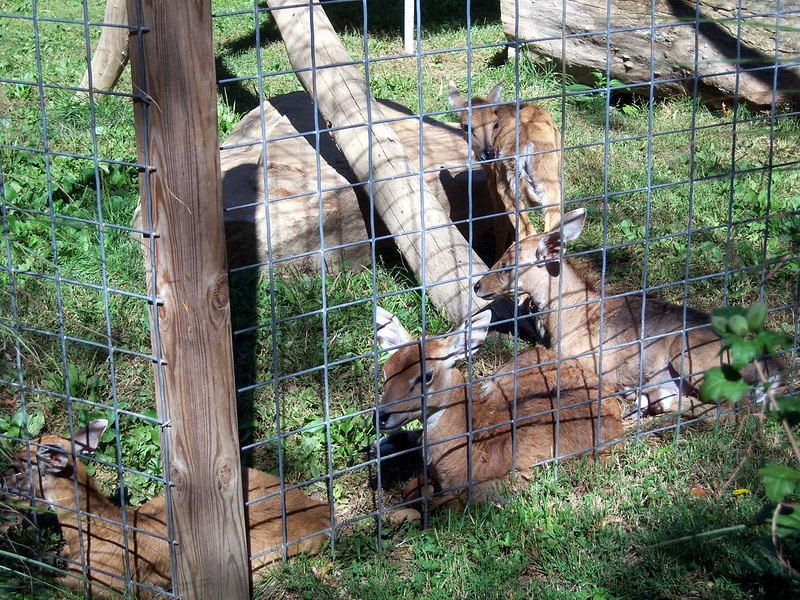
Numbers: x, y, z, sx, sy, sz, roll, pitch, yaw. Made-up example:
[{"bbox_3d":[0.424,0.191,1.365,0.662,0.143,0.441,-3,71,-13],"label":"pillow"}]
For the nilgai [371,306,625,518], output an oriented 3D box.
[{"bbox_3d":[0.413,0.525,5.007,1.673,1.205,0.760,-16,13,-32],"label":"nilgai"}]
